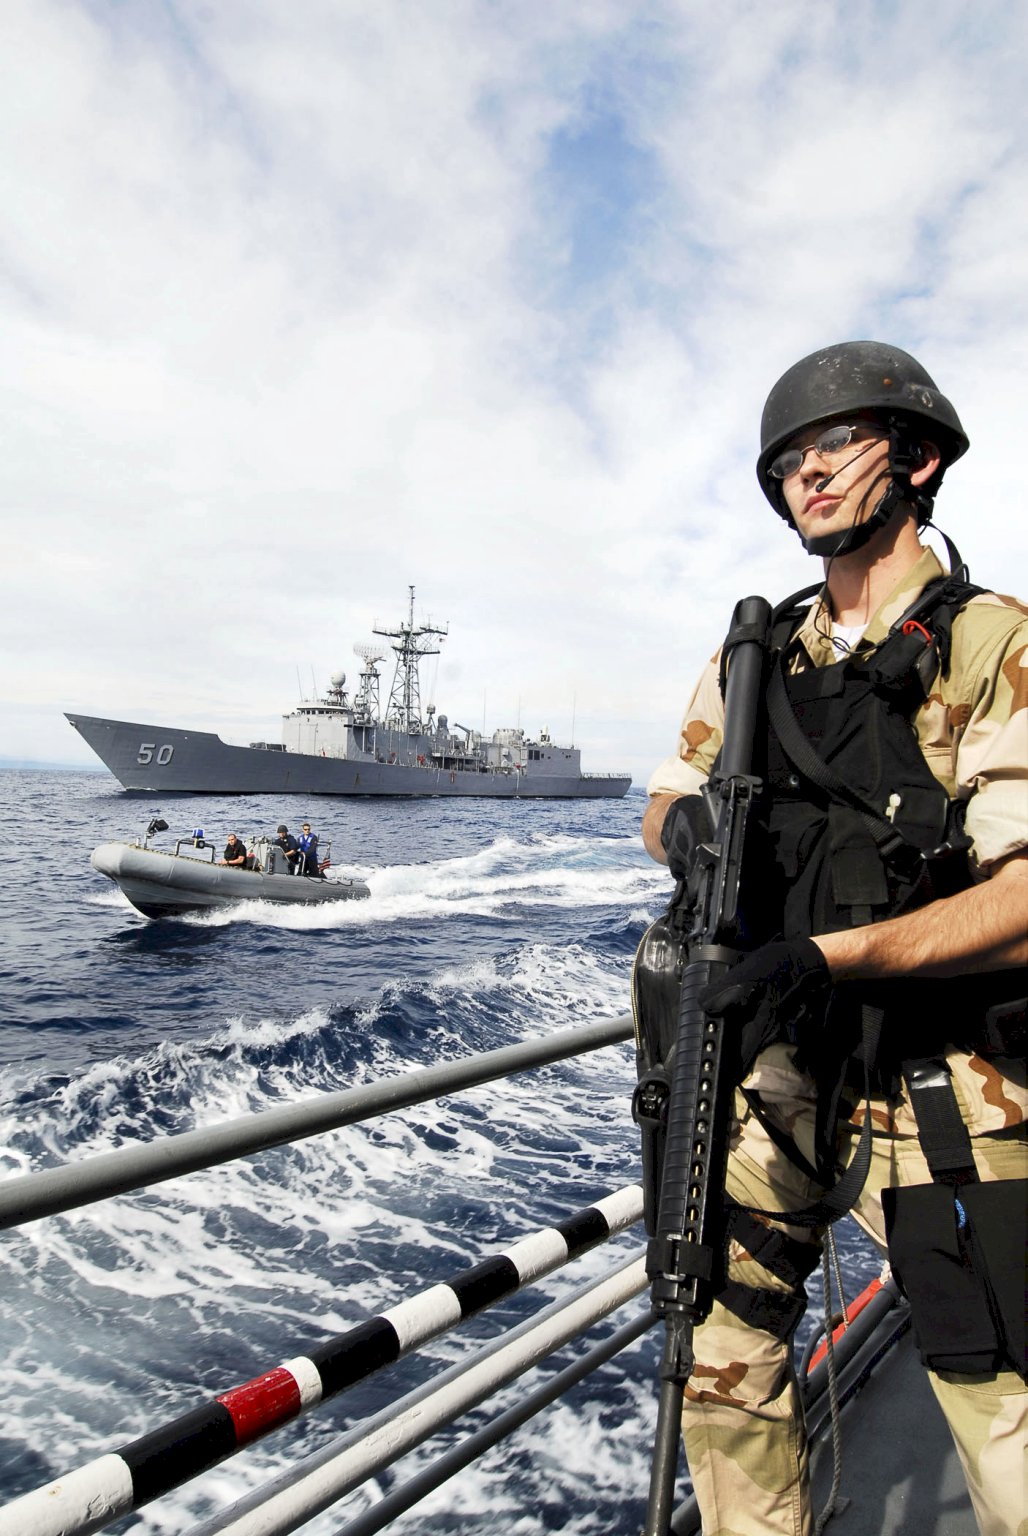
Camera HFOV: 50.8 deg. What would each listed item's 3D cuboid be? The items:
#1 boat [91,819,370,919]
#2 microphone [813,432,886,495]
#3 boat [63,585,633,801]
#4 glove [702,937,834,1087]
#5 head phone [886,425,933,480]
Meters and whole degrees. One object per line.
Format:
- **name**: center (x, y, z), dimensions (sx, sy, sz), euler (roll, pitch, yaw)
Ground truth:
- **boat**: center (-6.186, 2.359, 23.657), dimensions (5.173, 2.006, 2.493), euler (10, -11, -41)
- **microphone**: center (0.583, -0.502, 1.869), dimensions (0.033, 0.108, 0.107), euler (42, -18, -24)
- **boat**: center (-7.963, -2.965, 56.658), dimensions (4.924, 7.176, 28.307), euler (-2, -1, 44)
- **glove**: center (0.345, 0.331, 1.454), dimensions (0.141, 0.171, 0.117), euler (-2, -1, 39)
- **head phone**: center (0.669, -0.522, 1.850), dimensions (0.084, 0.108, 0.057), euler (1, 3, -16)
